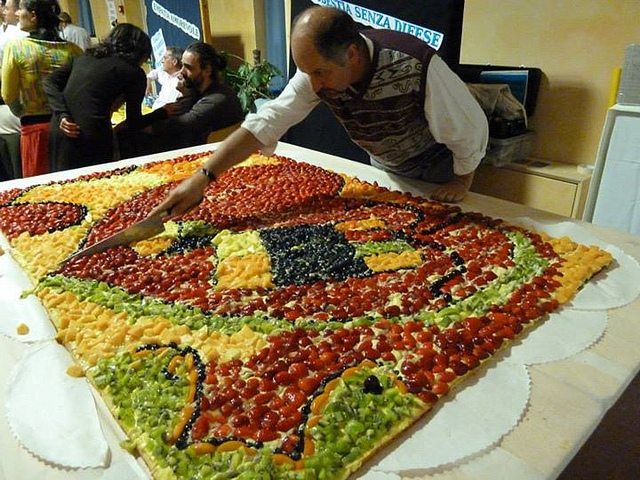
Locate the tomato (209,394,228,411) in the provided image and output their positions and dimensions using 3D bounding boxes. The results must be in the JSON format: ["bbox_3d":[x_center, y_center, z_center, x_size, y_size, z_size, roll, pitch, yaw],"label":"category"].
[{"bbox_3d":[-0.263,0.408,1.149,0.038,0.014,0.035,-29,12,-12],"label":"tomato"}]

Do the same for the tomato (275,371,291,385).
[{"bbox_3d":[-0.102,0.364,1.205,0.042,0.023,0.027,1,23,-3],"label":"tomato"}]

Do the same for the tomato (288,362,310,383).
[{"bbox_3d":[-0.061,0.353,1.220,0.055,0.024,0.048,5,31,10],"label":"tomato"}]

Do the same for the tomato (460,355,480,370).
[{"bbox_3d":[0.415,0.333,1.262,0.043,0.018,0.039,-23,44,-35],"label":"tomato"}]

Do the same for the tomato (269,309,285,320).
[{"bbox_3d":[-0.139,0.231,1.425,0.048,0.017,0.039,0,21,-4],"label":"tomato"}]

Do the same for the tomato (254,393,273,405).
[{"bbox_3d":[-0.147,0.402,1.161,0.046,0.012,0.029,0,21,-6],"label":"tomato"}]

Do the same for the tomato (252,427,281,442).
[{"bbox_3d":[-0.129,0.459,1.078,0.047,0.014,0.030,3,19,9],"label":"tomato"}]

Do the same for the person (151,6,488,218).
[{"bbox_3d":[0.109,-0.592,2.081,1.366,0.803,0.465,-2,26,-10],"label":"person"}]

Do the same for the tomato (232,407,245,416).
[{"bbox_3d":[-0.208,0.426,1.136,0.028,0.009,0.021,-11,25,-30],"label":"tomato"}]

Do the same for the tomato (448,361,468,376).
[{"bbox_3d":[0.373,0.347,1.243,0.050,0.024,0.036,11,24,22],"label":"tomato"}]

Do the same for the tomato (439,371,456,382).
[{"bbox_3d":[0.341,0.366,1.222,0.041,0.020,0.029,9,23,17],"label":"tomato"}]

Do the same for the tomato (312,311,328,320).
[{"bbox_3d":[-0.002,0.233,1.416,0.045,0.012,0.038,5,21,8],"label":"tomato"}]

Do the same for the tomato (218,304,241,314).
[{"bbox_3d":[-0.295,0.217,1.462,0.067,0.012,0.045,-3,21,-12],"label":"tomato"}]

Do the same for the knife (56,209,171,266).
[{"bbox_3d":[-0.830,-0.003,1.822,0.440,0.092,0.033,-23,54,-17],"label":"knife"}]
